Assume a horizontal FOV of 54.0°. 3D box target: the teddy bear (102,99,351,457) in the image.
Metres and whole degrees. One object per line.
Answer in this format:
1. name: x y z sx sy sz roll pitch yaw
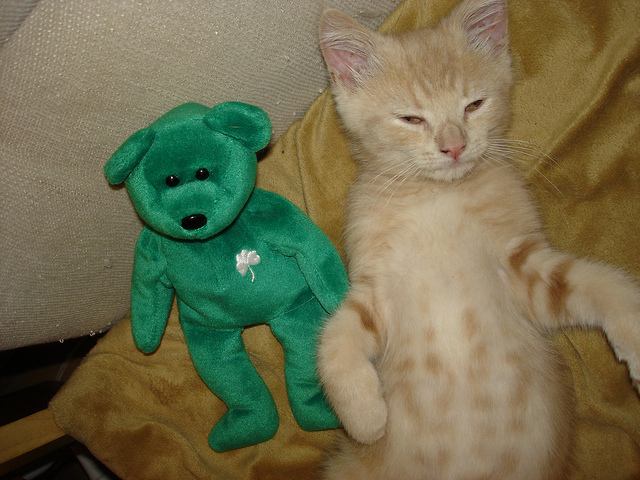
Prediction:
1. teddy bear: -0.230 0.113 1.759 0.611 0.953 0.698 6 57 17

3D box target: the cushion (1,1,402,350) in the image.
1. cushion: -0.434 -0.404 1.856 1.030 1.081 0.250 -30 56 -36
